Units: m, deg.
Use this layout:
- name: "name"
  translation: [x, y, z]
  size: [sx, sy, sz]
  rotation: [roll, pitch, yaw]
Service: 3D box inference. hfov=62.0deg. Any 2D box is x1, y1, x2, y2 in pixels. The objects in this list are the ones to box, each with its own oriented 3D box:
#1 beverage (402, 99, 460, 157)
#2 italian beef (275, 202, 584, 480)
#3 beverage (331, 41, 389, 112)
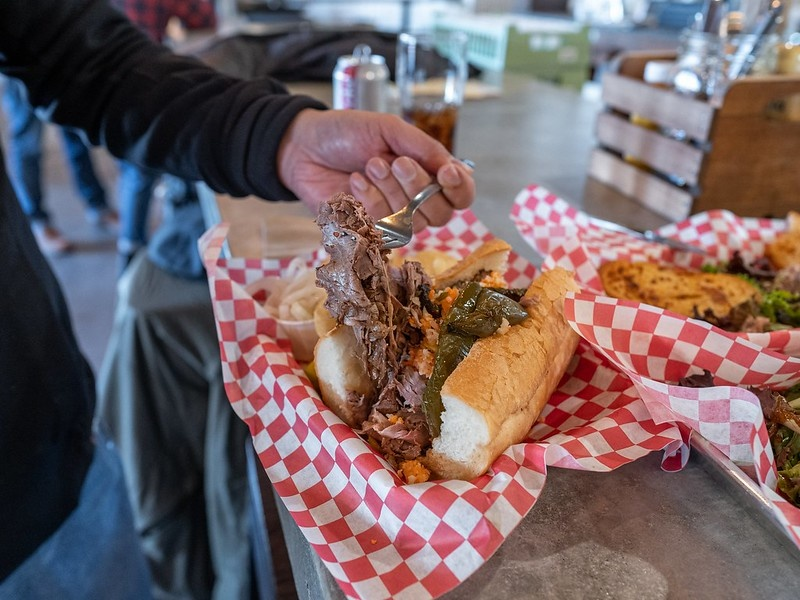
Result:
- name: "beverage"
  translation: [0.114, -0.629, 2.432]
  size: [0.176, 0.232, 0.216]
  rotation: [-1, 19, 0]
- name: "italian beef"
  translation: [0.093, 0.038, 1.531]
  size: [0.622, 0.532, 0.555]
  rotation: [11, 19, 35]
- name: "beverage"
  translation: [-0.135, -0.635, 2.152]
  size: [0.198, 0.317, 0.189]
  rotation: [-7, 36, -11]
